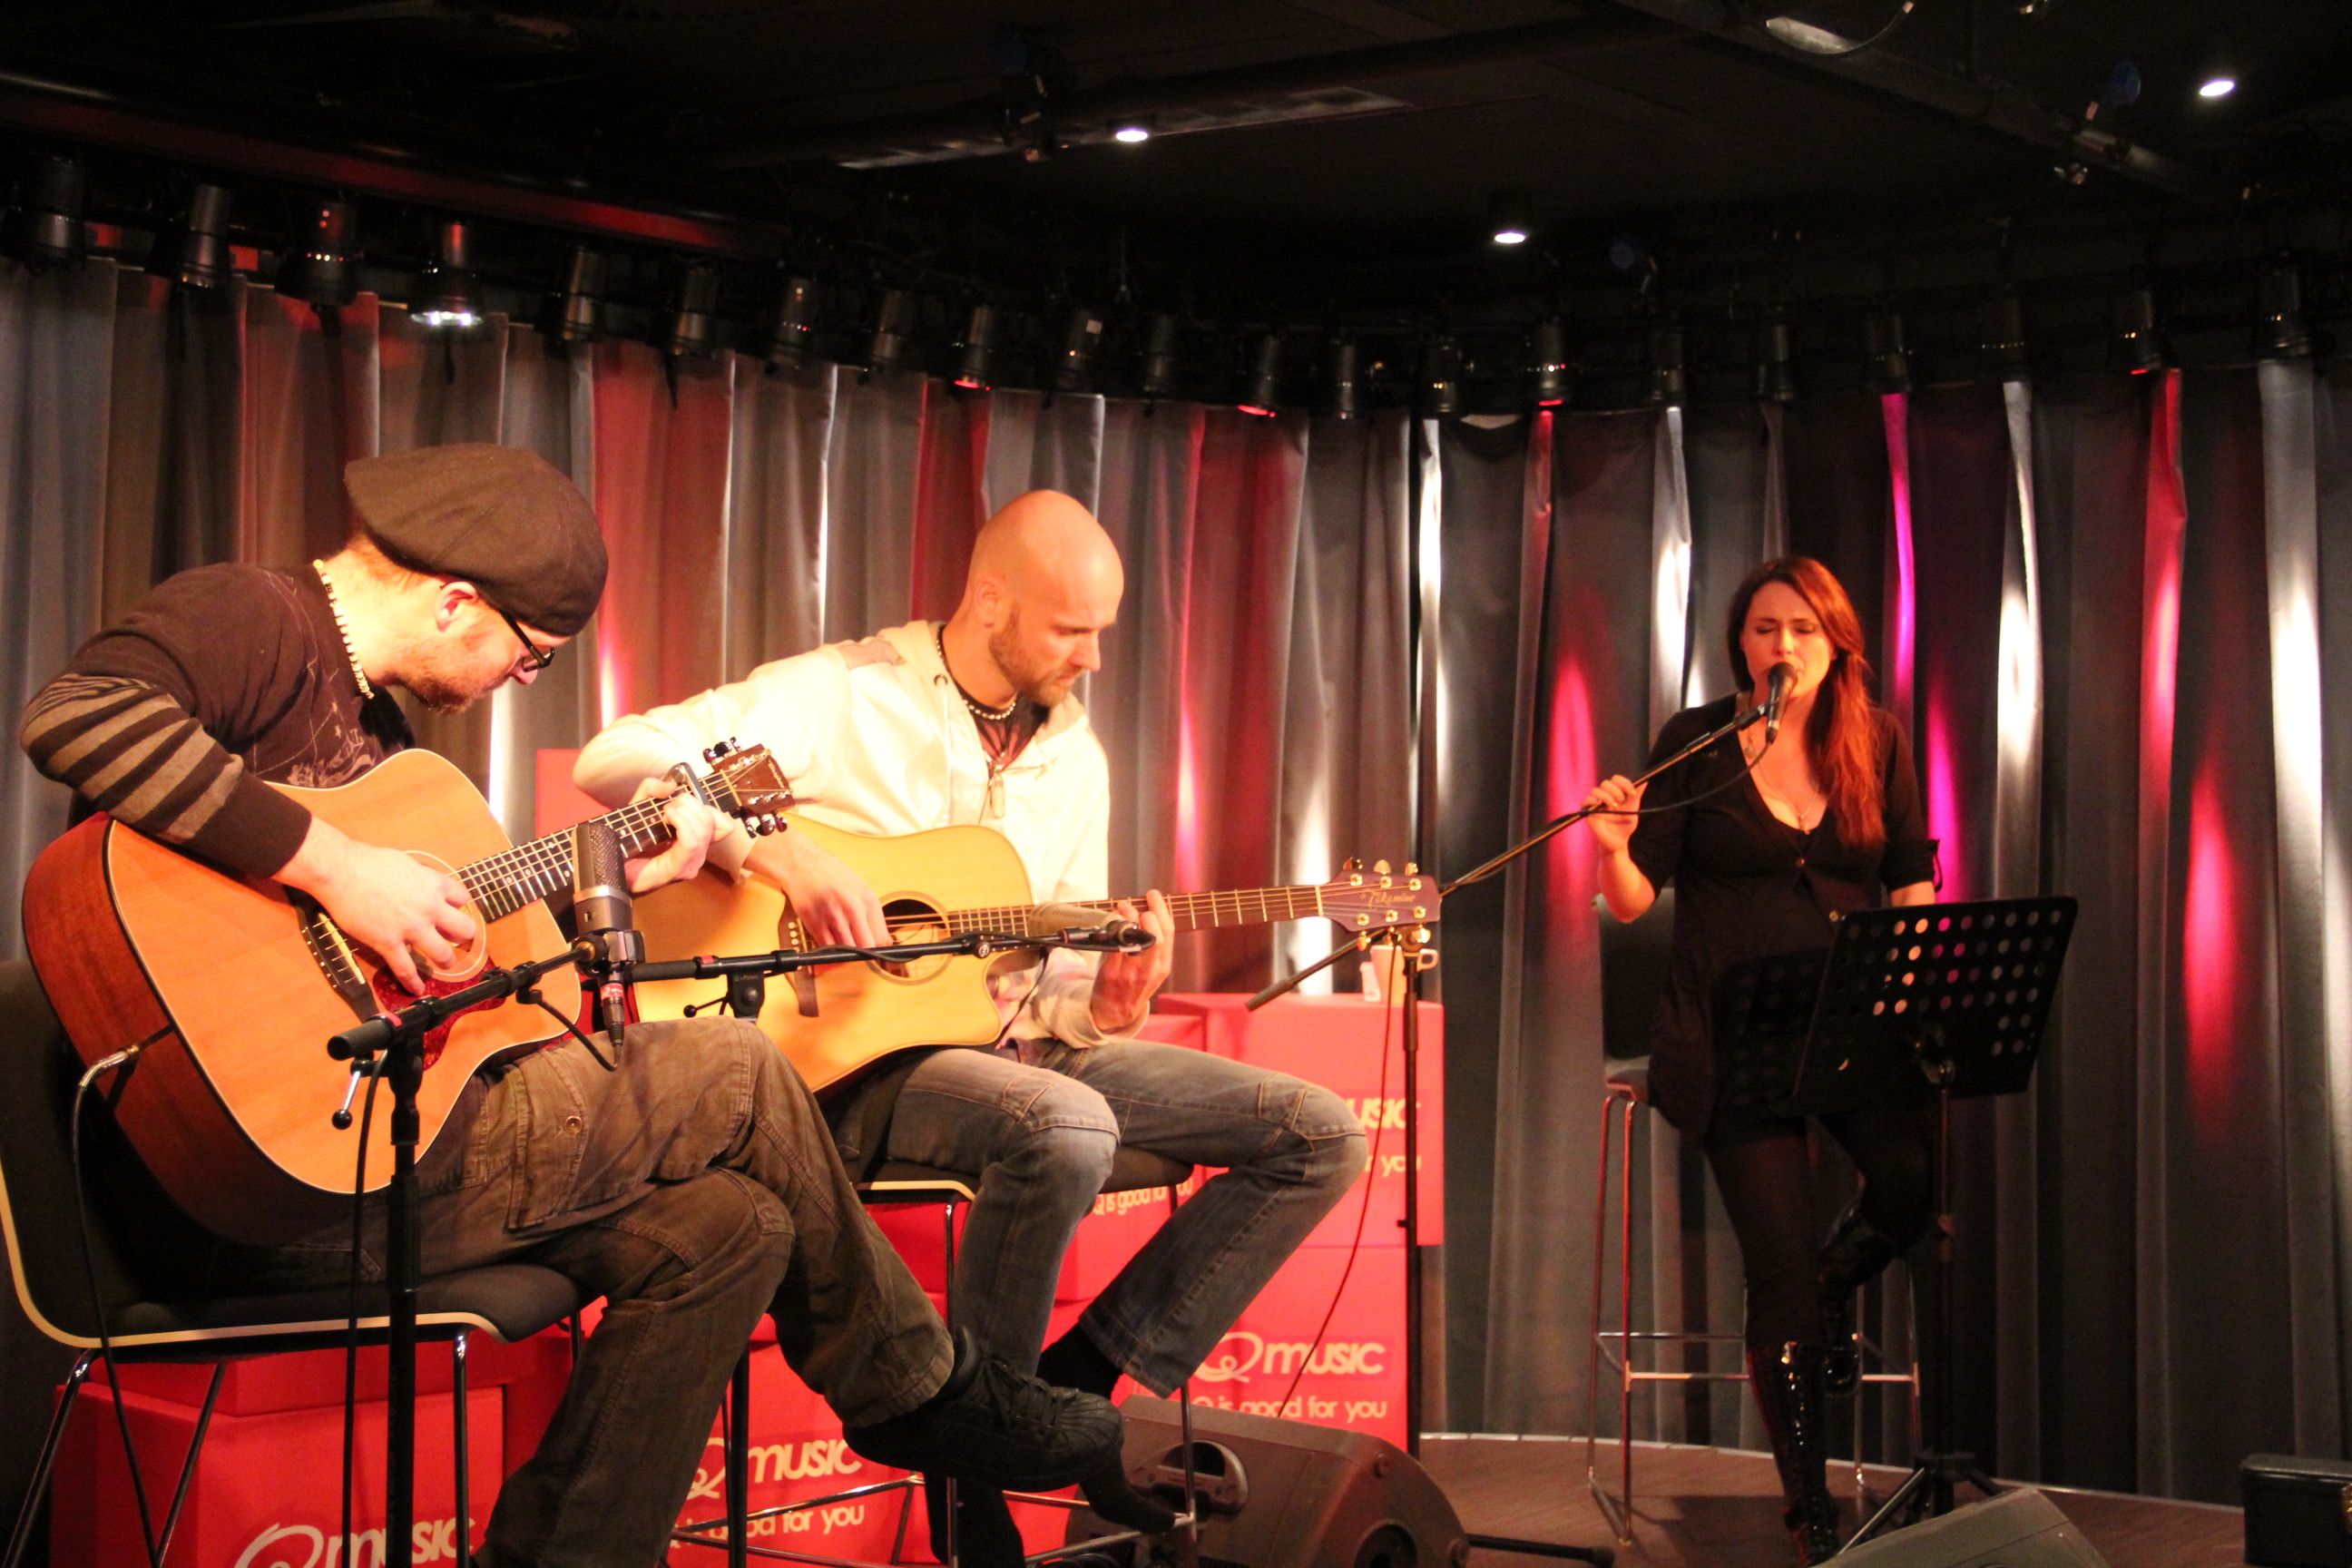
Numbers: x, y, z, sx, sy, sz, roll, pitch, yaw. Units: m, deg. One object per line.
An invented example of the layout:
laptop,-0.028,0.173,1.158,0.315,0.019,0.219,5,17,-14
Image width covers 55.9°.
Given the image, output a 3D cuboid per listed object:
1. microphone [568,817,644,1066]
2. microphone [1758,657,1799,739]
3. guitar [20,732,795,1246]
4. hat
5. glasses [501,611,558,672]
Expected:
microphone,-0.995,0.267,3.877,0.112,0.465,0.145,-1,-20,-11
microphone,1.443,-0.207,5.235,0.086,0.084,0.327,12,25,15
guitar,-1.383,0.301,3.962,1.165,0.598,0.202,-28,0,-40
hat,-1.263,-0.484,4.062,0.401,0.183,0.364,38,25,-6
glasses,-1.208,-0.252,4.093,0.031,0.104,0.100,-18,-6,2
